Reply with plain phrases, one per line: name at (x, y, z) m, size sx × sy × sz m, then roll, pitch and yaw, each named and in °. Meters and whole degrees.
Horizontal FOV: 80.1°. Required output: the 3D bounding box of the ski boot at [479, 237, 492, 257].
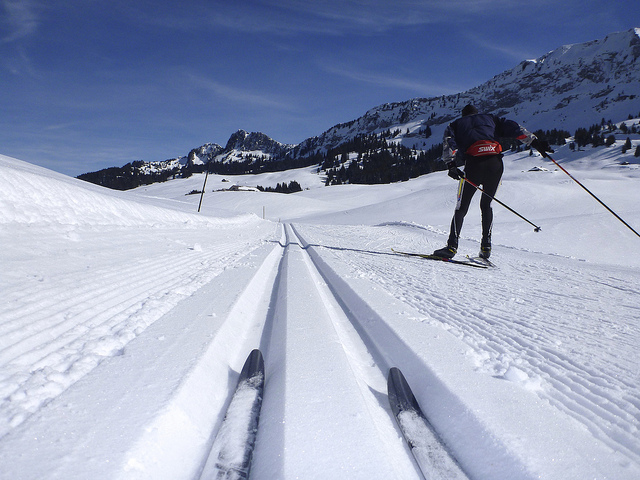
ski boot at (2.404, 0.105, 5.530) m, size 0.135 × 0.347 × 0.371 m, roll 7°, pitch 14°, yaw 23°

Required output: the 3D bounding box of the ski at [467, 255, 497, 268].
ski at (2.290, 0.305, 5.378) m, size 0.153 × 0.183 × 1.317 m, roll 2°, pitch 1°, yaw 13°

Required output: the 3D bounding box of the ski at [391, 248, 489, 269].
ski at (1.577, 0.262, 5.794) m, size 1.905 × 0.195 × 0.183 m, roll 6°, pitch 52°, yaw 40°

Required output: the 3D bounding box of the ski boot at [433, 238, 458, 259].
ski boot at (1.877, 0.104, 5.682) m, size 0.158 × 0.326 × 0.319 m, roll -8°, pitch 16°, yaw -34°
